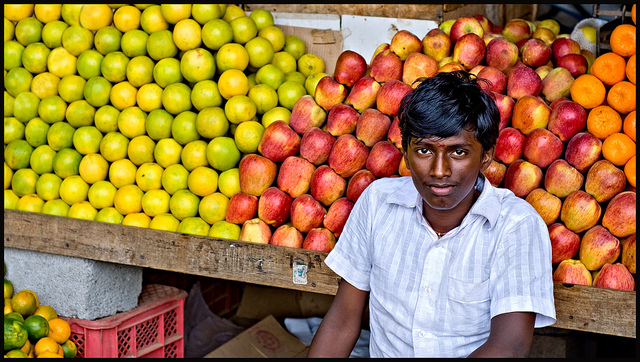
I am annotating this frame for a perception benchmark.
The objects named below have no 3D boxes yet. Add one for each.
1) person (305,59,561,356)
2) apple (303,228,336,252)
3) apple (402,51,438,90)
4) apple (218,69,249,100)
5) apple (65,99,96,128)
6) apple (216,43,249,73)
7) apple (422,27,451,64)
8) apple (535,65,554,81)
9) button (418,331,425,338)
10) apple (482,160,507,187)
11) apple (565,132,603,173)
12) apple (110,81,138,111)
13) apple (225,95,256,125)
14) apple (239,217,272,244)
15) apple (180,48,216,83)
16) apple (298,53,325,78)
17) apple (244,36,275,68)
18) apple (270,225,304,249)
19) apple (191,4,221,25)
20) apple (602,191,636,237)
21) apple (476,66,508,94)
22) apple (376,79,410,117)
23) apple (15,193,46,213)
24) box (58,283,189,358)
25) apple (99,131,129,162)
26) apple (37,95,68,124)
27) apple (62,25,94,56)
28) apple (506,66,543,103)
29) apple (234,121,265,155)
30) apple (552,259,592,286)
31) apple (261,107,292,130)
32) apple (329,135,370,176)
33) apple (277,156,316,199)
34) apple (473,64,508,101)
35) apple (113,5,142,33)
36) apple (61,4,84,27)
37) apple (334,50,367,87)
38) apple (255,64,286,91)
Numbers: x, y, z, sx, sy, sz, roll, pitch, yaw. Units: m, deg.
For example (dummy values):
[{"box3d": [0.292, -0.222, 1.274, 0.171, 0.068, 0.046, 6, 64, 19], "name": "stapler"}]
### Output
[{"box3d": [0.733, 0.246, 3.179, 1.363, 1.818, 0.432, 1, 4, 22], "name": "person"}, {"box3d": [-0.003, 0.461, 3.932, 0.255, 0.172, 0.111, 0, 4, -1], "name": "apple"}, {"box3d": [0.823, -0.887, 4.077, 0.314, 0.308, 0.218, -1, 4, -8], "name": "apple"}, {"box3d": [-0.725, -0.785, 4.229, 0.249, 0.280, 0.256, 3, 0, 13], "name": "apple"}, {"box3d": [-2.054, -0.576, 4.498, 0.231, 0.237, 0.232, 7, 35, 2], "name": "apple"}, {"box3d": [-0.730, -1.005, 4.294, 0.280, 0.310, 0.267, -2, 3, -21], "name": "apple"}, {"box3d": [1.001, -1.130, 4.327, 0.285, 0.320, 0.274, -3, 13, 8], "name": "apple"}, {"box3d": [1.745, -0.828, 3.985, 0.108, 0.111, 0.113, 12, 3, -38], "name": "apple"}, {"box3d": [0.633, 0.954, 3.163, 0.038, 0.040, 0.004, 0, 4, 4], "name": "button"}, {"box3d": [1.237, -0.047, 3.604, 0.146, 0.157, 0.150, 24, 16, 28], "name": "apple"}, {"box3d": [1.965, -0.212, 3.755, 0.232, 0.277, 0.237, 23, 27, 31], "name": "apple"}, {"box3d": [-1.675, -0.704, 4.319, 0.230, 0.222, 0.124, 3, -1, -4], "name": "apple"}, {"box3d": [-0.622, -0.576, 4.186, 0.226, 0.208, 0.246, -6, 9, 20], "name": "apple"}, {"box3d": [-0.503, 0.407, 4.011, 0.199, 0.231, 0.201, -17, -7, -7], "name": "apple"}, {"box3d": [-0.999, -0.923, 4.219, 0.281, 0.272, 0.267, 5, 8, 10], "name": "apple"}, {"box3d": [-0.082, -1.017, 4.530, 0.215, 0.208, 0.208, 8, 27, 15], "name": "apple"}, {"box3d": [-0.497, -1.091, 4.368, 0.246, 0.234, 0.235, -18, 38, -28], "name": "apple"}, {"box3d": [-0.253, 0.441, 3.969, 0.185, 0.207, 0.181, 2, -8, 2], "name": "apple"}, {"box3d": [-0.949, -1.388, 4.249, 0.215, 0.172, 0.176, -9, -21, 0], "name": "apple"}, {"box3d": [2.133, 0.241, 3.613, 0.205, 0.306, 0.074, 2, 5, 28], "name": "apple"}, {"box3d": [1.337, -0.768, 3.922, 0.250, 0.225, 0.154, -2, 4, -33], "name": "apple"}, {"box3d": [0.596, -0.644, 4.066, 0.279, 0.304, 0.271, 13, 5, -14], "name": "apple"}, {"box3d": [-2.542, 0.206, 4.481, 0.186, 0.170, 0.175, 3, -39, -37], "name": "apple"}, {"box3d": [-1.636, 1.314, 4.430, 0.738, 0.442, 0.753, 3, 5, 36], "name": "box"}, {"box3d": [-1.741, -0.273, 4.314, 0.253, 0.242, 0.229, 0, 0, 3], "name": "apple"}, {"box3d": [-2.354, -0.619, 4.541, 0.256, 0.254, 0.271, 13, 8, 39], "name": "apple"}, {"box3d": [-2.096, -1.190, 4.424, 0.252, 0.238, 0.243, 5, 12, 3], "name": "apple"}, {"box3d": [1.554, -0.748, 3.937, 0.259, 0.269, 0.247, 13, 3, -7], "name": "apple"}, {"box3d": [-0.575, -0.339, 4.090, 0.241, 0.270, 0.229, -9, 10, -13], "name": "apple"}, {"box3d": [1.788, 0.650, 3.600, 0.188, 0.209, 0.192, -3, 3, 7], "name": "apple"}, {"box3d": [-0.369, -0.509, 4.229, 0.183, 0.185, 0.190, 8, -39, -40], "name": "apple"}, {"box3d": [0.220, -0.183, 4.084, 0.284, 0.298, 0.278, 29, -3, 3], "name": "apple"}, {"box3d": [-0.208, -0.051, 4.131, 0.290, 0.324, 0.299, 17, 6, 30], "name": "apple"}, {"box3d": [1.342, -0.751, 3.953, 0.204, 0.224, 0.198, 5, 15, 24], "name": "apple"}, {"box3d": [-1.651, -1.394, 4.443, 0.231, 0.223, 0.219, -14, 22, -34], "name": "apple"}, {"box3d": [-2.169, -1.435, 4.441, 0.199, 0.192, 0.188, 14, 7, -25], "name": "apple"}, {"box3d": [0.252, -0.914, 4.211, 0.257, 0.285, 0.272, 15, 3, 22], "name": "apple"}, {"box3d": [-0.430, -0.863, 4.366, 0.230, 0.220, 0.206, -5, 23, -34], "name": "apple"}]
